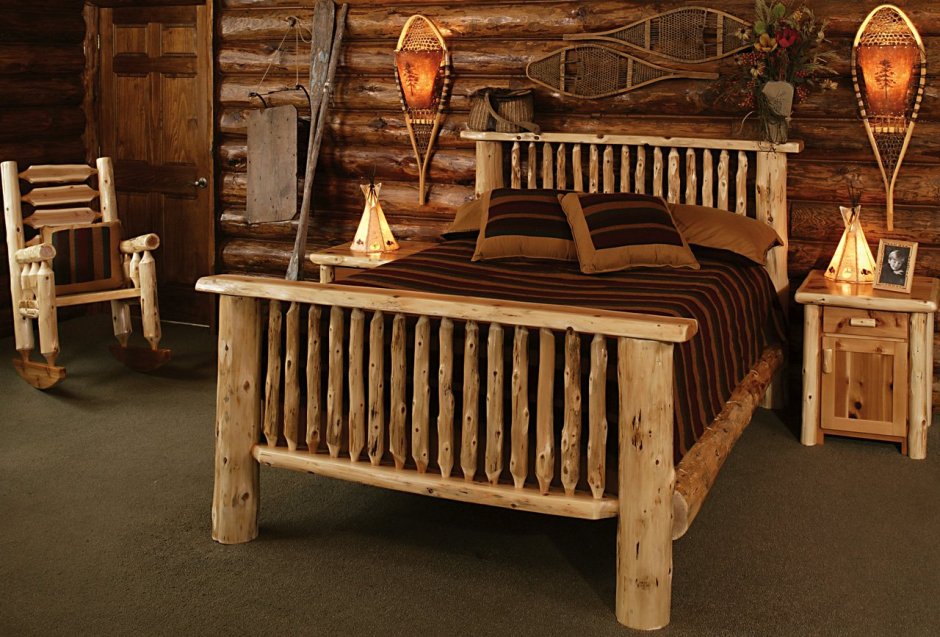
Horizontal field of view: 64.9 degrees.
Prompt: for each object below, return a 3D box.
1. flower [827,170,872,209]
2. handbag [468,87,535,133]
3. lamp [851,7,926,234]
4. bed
[{"bbox_3d":[2.449,-0.844,4.765,0.323,0.266,0.078,12,18,40],"label":"flower"},{"bbox_3d":[0.223,-1.451,5.173,0.352,0.233,0.429,-9,16,-38],"label":"handbag"},{"bbox_3d":[2.527,-1.226,4.558,0.410,1.367,0.155,8,13,21],"label":"lamp"},{"bbox_3d":[0.594,0.172,4.382,2.569,1.727,3.364,3,11,24],"label":"bed"}]
